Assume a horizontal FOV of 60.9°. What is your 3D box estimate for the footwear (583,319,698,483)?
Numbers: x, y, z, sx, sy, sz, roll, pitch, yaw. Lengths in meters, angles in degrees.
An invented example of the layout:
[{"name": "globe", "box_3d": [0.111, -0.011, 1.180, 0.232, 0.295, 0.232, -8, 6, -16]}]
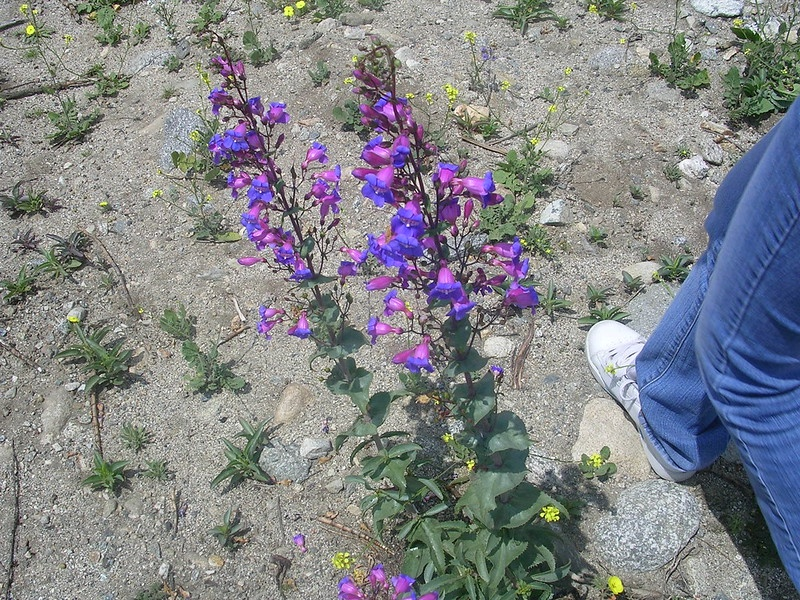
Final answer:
[{"name": "footwear", "box_3d": [1.775, 0.736, 5.459, 0.461, 0.560, 1.407, -20, 65, 2]}]
